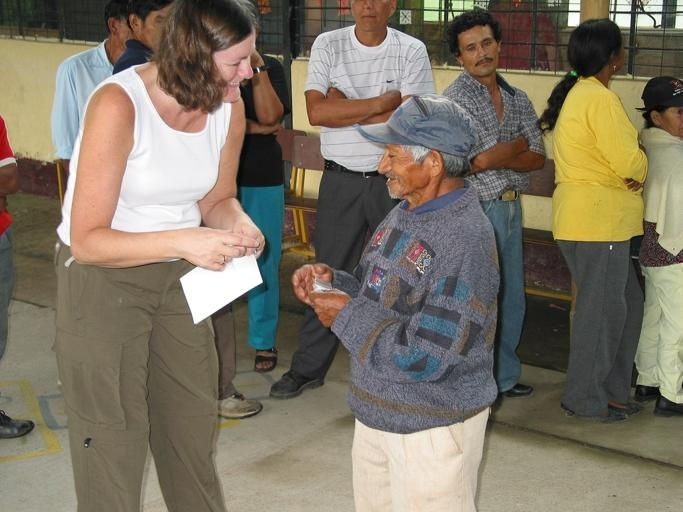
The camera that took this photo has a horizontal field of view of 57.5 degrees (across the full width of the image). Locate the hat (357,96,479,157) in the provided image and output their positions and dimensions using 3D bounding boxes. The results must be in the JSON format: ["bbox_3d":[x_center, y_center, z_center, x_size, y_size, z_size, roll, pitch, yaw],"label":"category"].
[{"bbox_3d":[0.329,-0.519,2.499,0.365,0.154,0.235,9,16,-2],"label":"hat"}]

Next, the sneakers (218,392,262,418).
[{"bbox_3d":[-0.717,1.069,4.446,0.298,0.124,0.135,-1,10,-3],"label":"sneakers"}]

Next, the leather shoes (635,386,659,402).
[{"bbox_3d":[2.300,1.042,4.687,0.206,0.132,0.066,-10,20,-23],"label":"leather shoes"}]

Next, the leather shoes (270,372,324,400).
[{"bbox_3d":[-0.359,0.992,4.808,0.437,0.190,0.162,-3,8,-31],"label":"leather shoes"}]

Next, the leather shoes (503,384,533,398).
[{"bbox_3d":[1.341,1.029,4.744,0.237,0.097,0.094,-11,18,-10],"label":"leather shoes"}]

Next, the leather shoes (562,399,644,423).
[{"bbox_3d":[1.937,1.125,4.436,0.328,0.098,0.206,-1,5,-3],"label":"leather shoes"}]
